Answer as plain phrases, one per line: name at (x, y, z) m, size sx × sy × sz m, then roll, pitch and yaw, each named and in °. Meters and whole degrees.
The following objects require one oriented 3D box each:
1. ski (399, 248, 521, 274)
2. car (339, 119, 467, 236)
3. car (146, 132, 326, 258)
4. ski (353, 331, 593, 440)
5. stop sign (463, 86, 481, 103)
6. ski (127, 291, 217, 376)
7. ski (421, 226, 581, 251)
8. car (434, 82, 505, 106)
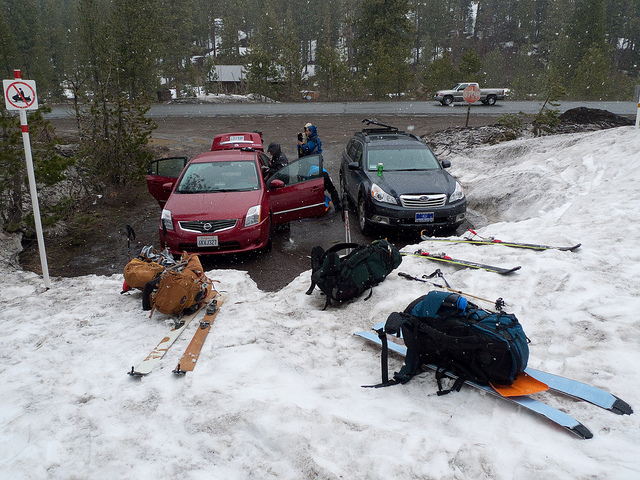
ski at (2.365, 0.354, 7.639) m, size 1.660 × 0.143 × 0.183 m, roll 9°, pitch 36°, yaw 47°
car at (1.830, -1.810, 11.831) m, size 2.361 × 2.413 × 5.011 m, roll -2°, pitch 19°, yaw -6°
car at (-1.720, -1.013, 9.773) m, size 2.753 × 1.471 × 3.039 m, roll -1°, pitch 13°, yaw 3°
ski at (1.675, 1.595, 4.985) m, size 2.399 × 0.189 × 0.273 m, roll 19°, pitch 26°, yaw 32°
stop sign at (6.109, -5.899, 18.717) m, size 0.540 × 0.681 × 1.521 m, roll 1°, pitch 20°, yaw 16°
ski at (-1.962, 1.259, 6.091) m, size 0.164 × 0.123 × 1.507 m, roll -2°, pitch 18°, yaw 11°
ski at (3.342, -0.024, 8.397) m, size 2.464 × 0.190 × 0.278 m, roll 5°, pitch 16°, yaw 40°
car at (10.941, -10.664, 34.018) m, size 4.568 × 1.568 × 1.785 m, roll 2°, pitch 21°, yaw 19°
